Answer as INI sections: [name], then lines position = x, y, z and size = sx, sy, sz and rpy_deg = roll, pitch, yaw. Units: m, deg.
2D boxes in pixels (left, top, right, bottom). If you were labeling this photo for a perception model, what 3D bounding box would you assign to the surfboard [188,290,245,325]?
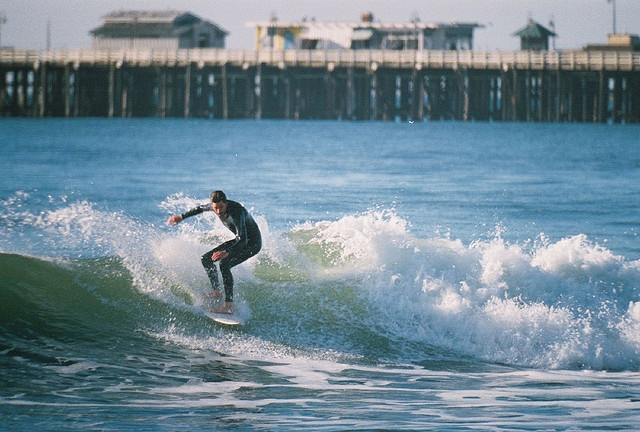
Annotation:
[surfboard]
position = -3.462, 3.156, 36.796
size = 0.688, 0.376, 2.635
rpy_deg = -34, 48, -26
